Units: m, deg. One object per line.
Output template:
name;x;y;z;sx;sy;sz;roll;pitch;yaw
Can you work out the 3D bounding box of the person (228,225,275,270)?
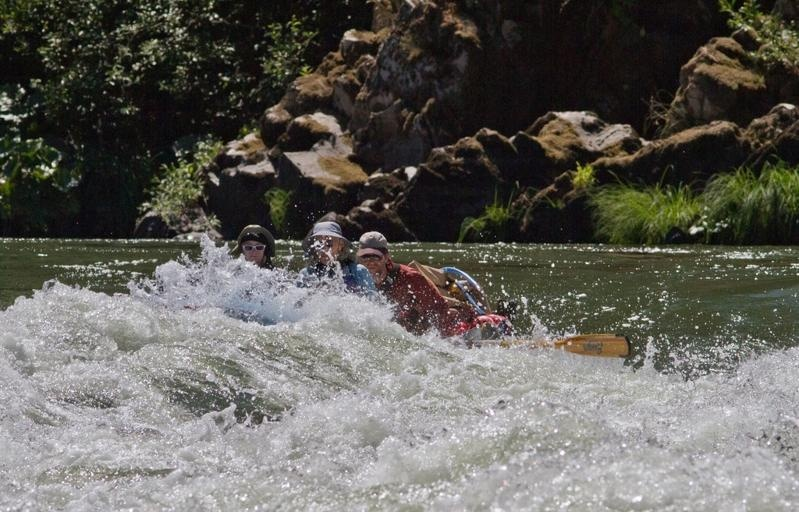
person;-3.021;-0.199;28.543;0.634;0.937;0.907;-2;1;-5
